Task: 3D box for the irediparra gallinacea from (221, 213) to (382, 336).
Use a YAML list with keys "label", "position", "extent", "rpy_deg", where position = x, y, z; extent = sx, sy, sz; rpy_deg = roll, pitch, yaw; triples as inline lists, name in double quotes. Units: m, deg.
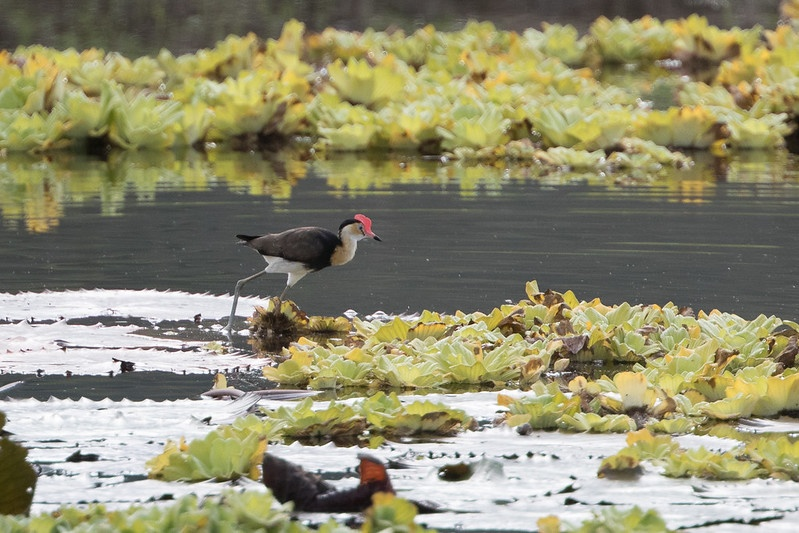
- label: "irediparra gallinacea"
  position: [-0.706, -0.068, 9.297]
  extent: [0.858, 0.630, 0.417]
  rpy_deg: [-4, 7, -24]
